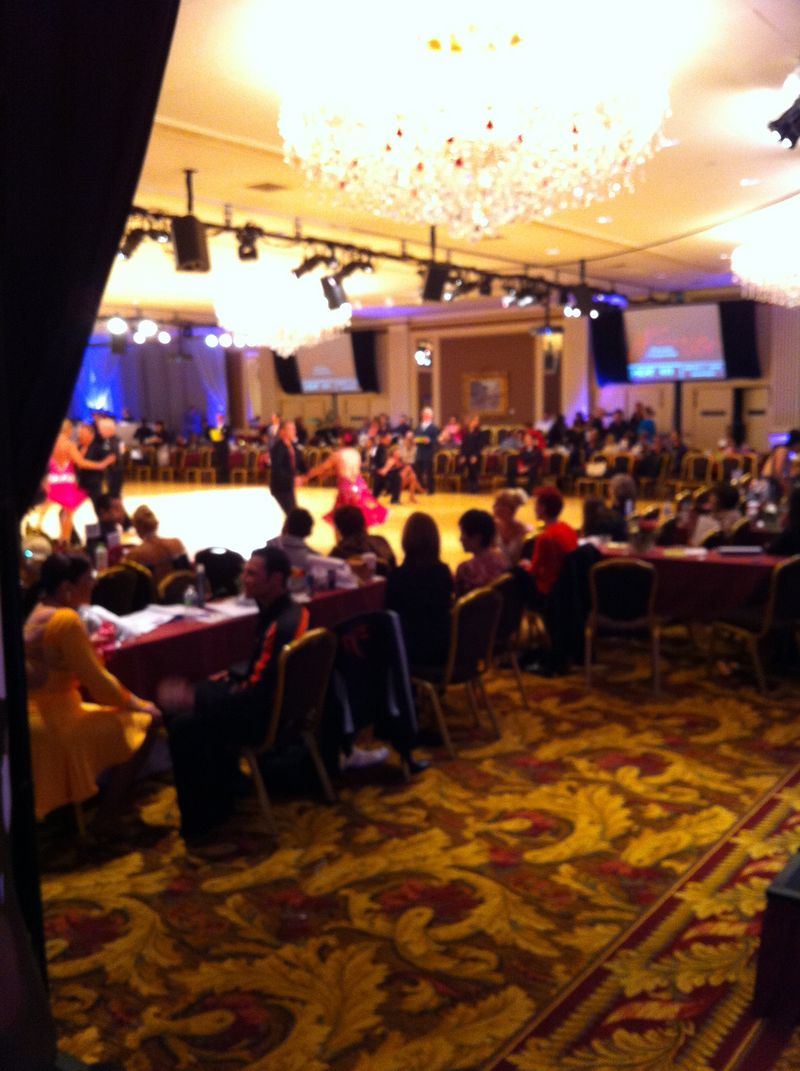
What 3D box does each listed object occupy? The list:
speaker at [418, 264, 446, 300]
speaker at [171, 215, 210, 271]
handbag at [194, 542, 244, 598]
[{"bbox_3d":[0.414,-3.039,9.669,0.326,0.436,0.352,-2,5,0],"label":"speaker"},{"bbox_3d":[-1.941,-2.743,7.527,0.304,0.490,0.430,-3,6,-15],"label":"speaker"},{"bbox_3d":[-1.051,0.201,4.727,0.251,0.262,0.142,-2,6,-6],"label":"handbag"}]
